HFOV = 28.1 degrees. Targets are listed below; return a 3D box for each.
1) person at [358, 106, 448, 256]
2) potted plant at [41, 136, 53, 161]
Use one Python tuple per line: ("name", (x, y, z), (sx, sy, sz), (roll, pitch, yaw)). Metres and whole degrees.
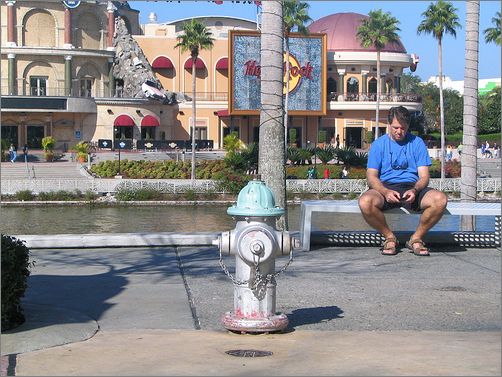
("person", (2.964, -0.130, 19.610), (1.584, 3.017, 0.912), (-2, 3, 6))
("potted plant", (-12.287, -2.454, 60.576), (0.753, 1.496, 3.980), (-3, 3, -12))
